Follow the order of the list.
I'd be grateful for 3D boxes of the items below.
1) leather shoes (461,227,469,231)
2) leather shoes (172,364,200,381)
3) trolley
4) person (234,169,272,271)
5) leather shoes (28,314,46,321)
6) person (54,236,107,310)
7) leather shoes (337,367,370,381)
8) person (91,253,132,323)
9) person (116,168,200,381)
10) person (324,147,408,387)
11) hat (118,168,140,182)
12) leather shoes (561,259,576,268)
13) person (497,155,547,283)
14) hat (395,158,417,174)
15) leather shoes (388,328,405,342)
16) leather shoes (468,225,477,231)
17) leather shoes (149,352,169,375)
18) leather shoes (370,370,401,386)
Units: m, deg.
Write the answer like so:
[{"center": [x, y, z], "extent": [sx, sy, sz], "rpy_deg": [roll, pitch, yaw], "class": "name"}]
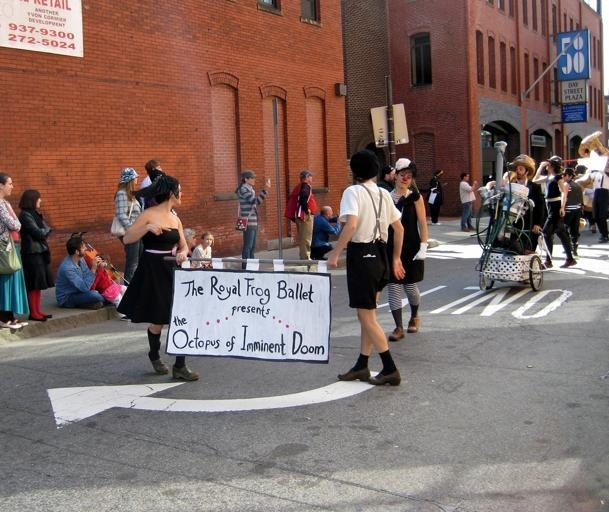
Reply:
[{"center": [5.585, -0.962, 22.370], "extent": [0.255, 0.120, 0.099], "rpy_deg": [-1, 28, -15], "class": "leather shoes"}, {"center": [-1.143, 1.126, 6.246], "extent": [0.257, 0.125, 0.111], "rpy_deg": [1, 2, 8], "class": "leather shoes"}, {"center": [3.420, 0.227, 10.735], "extent": [1.039, 0.724, 1.165], "rpy_deg": [0, 2, -1], "class": "trolley"}, {"center": [-1.067, -0.871, 13.352], "extent": [0.642, 1.887, 1.460], "rpy_deg": [-2, 6, -6], "class": "person"}, {"center": [-3.580, 0.820, 8.696], "extent": [0.248, 0.069, 0.092], "rpy_deg": [-2, 1, 14], "class": "leather shoes"}, {"center": [-3.326, 0.219, 9.541], "extent": [0.614, 1.051, 0.690], "rpy_deg": [-5, 6, -30], "class": "person"}, {"center": [0.464, 1.101, 6.032], "extent": [0.307, 0.130, 0.116], "rpy_deg": [1, -2, 6], "class": "leather shoes"}, {"center": [-2.943, 0.400, 9.868], "extent": [0.323, 1.054, 0.440], "rpy_deg": [-17, 34, -15], "class": "person"}, {"center": [-1.378, 0.217, 6.287], "extent": [0.680, 2.002, 0.747], "rpy_deg": [-3, 5, -45], "class": "person"}, {"center": [0.572, 0.093, 5.896], "extent": [0.624, 2.133, 0.986], "rpy_deg": [0, 5, 9], "class": "person"}, {"center": [-2.757, -1.336, 10.237], "extent": [0.240, 0.182, 0.323], "rpy_deg": [-9, 8, 5], "class": "hat"}, {"center": [5.347, 0.097, 13.024], "extent": [0.272, 0.186, 0.434], "rpy_deg": [1, 7, 22], "class": "leather shoes"}, {"center": [3.605, -0.620, 10.772], "extent": [0.895, 2.174, 0.943], "rpy_deg": [-9, 10, -38], "class": "person"}, {"center": [1.163, -1.063, 7.517], "extent": [0.157, 0.126, 0.208], "rpy_deg": [4, 11, 3], "class": "hat"}, {"center": [1.075, 0.922, 7.575], "extent": [0.086, 0.107, 0.243], "rpy_deg": [-4, -9, 25], "class": "leather shoes"}, {"center": [5.949, -1.015, 22.839], "extent": [0.140, 0.173, 0.431], "rpy_deg": [3, 14, 22], "class": "leather shoes"}, {"center": [-1.475, 1.071, 6.477], "extent": [0.275, 0.122, 0.128], "rpy_deg": [20, 18, 42], "class": "leather shoes"}, {"center": [0.737, 1.086, 5.890], "extent": [0.255, 0.115, 0.129], "rpy_deg": [2, 2, 21], "class": "leather shoes"}]
